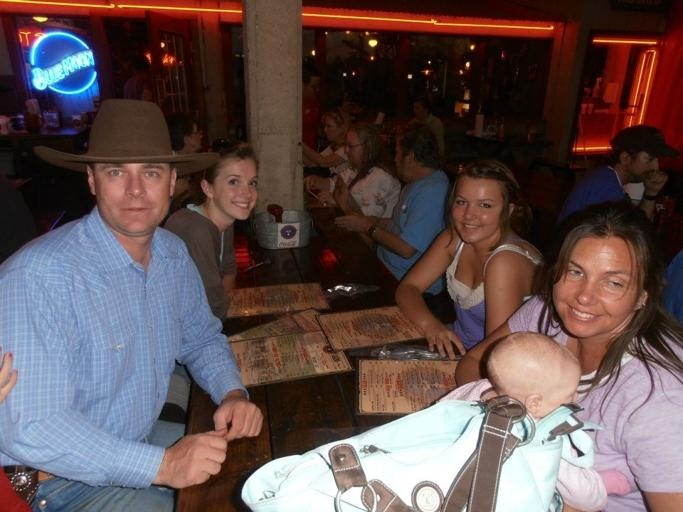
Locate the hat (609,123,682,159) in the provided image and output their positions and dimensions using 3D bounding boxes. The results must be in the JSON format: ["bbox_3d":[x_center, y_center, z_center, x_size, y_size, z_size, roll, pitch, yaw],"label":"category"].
[{"bbox_3d":[2.440,-0.925,4.059,0.398,0.207,0.287,1,17,13],"label":"hat"}]

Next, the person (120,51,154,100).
[{"bbox_3d":[-2.831,-2.475,6.995,0.391,0.577,0.777,-9,29,-19],"label":"person"}]
